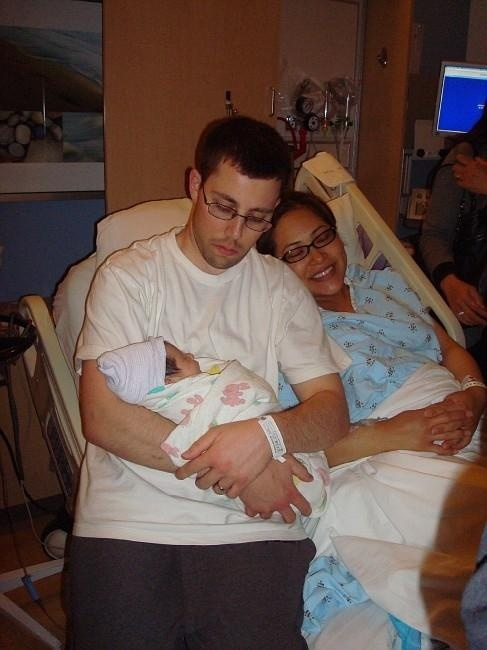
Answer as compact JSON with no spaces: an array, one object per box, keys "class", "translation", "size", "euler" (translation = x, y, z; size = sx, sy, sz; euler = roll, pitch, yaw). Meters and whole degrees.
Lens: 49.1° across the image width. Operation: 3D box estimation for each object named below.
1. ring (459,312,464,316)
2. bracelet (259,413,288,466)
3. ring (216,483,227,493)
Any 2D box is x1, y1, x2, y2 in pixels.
[{"class":"ring","translation":[0.956,-0.051,2.333],"size":[0.008,0.008,0.028],"euler":[16,-36,-22]},{"class":"bracelet","translation":[0.066,0.247,1.179],"size":[0.068,0.092,0.023],"euler":[-33,6,-39]},{"class":"ring","translation":[-0.052,0.366,1.194],"size":[0.018,0.023,0.012],"euler":[-28,-6,-26]}]
